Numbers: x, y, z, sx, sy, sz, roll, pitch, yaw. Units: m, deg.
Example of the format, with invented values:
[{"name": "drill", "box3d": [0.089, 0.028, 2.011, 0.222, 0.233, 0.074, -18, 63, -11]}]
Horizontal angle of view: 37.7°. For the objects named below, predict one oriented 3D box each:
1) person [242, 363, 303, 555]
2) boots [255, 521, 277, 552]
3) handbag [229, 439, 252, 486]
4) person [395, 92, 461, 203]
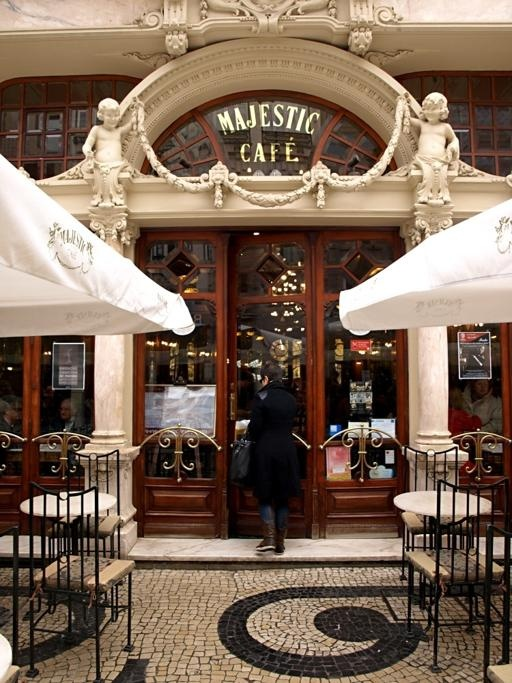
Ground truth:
[{"name": "person", "box3d": [0.172, 1.090, 7.026, 0.468, 1.668, 0.645, 1, 8, 13]}, {"name": "boots", "box3d": [0.099, 1.799, 6.898, 0.218, 0.274, 0.164, -3, 8, -14]}, {"name": "handbag", "box3d": [-0.143, 1.108, 6.925, 0.197, 0.417, 0.208, -1, 8, 1]}, {"name": "person", "box3d": [1.699, -1.895, 7.339, 0.581, 1.079, 0.447, 1, 8, 12]}]
